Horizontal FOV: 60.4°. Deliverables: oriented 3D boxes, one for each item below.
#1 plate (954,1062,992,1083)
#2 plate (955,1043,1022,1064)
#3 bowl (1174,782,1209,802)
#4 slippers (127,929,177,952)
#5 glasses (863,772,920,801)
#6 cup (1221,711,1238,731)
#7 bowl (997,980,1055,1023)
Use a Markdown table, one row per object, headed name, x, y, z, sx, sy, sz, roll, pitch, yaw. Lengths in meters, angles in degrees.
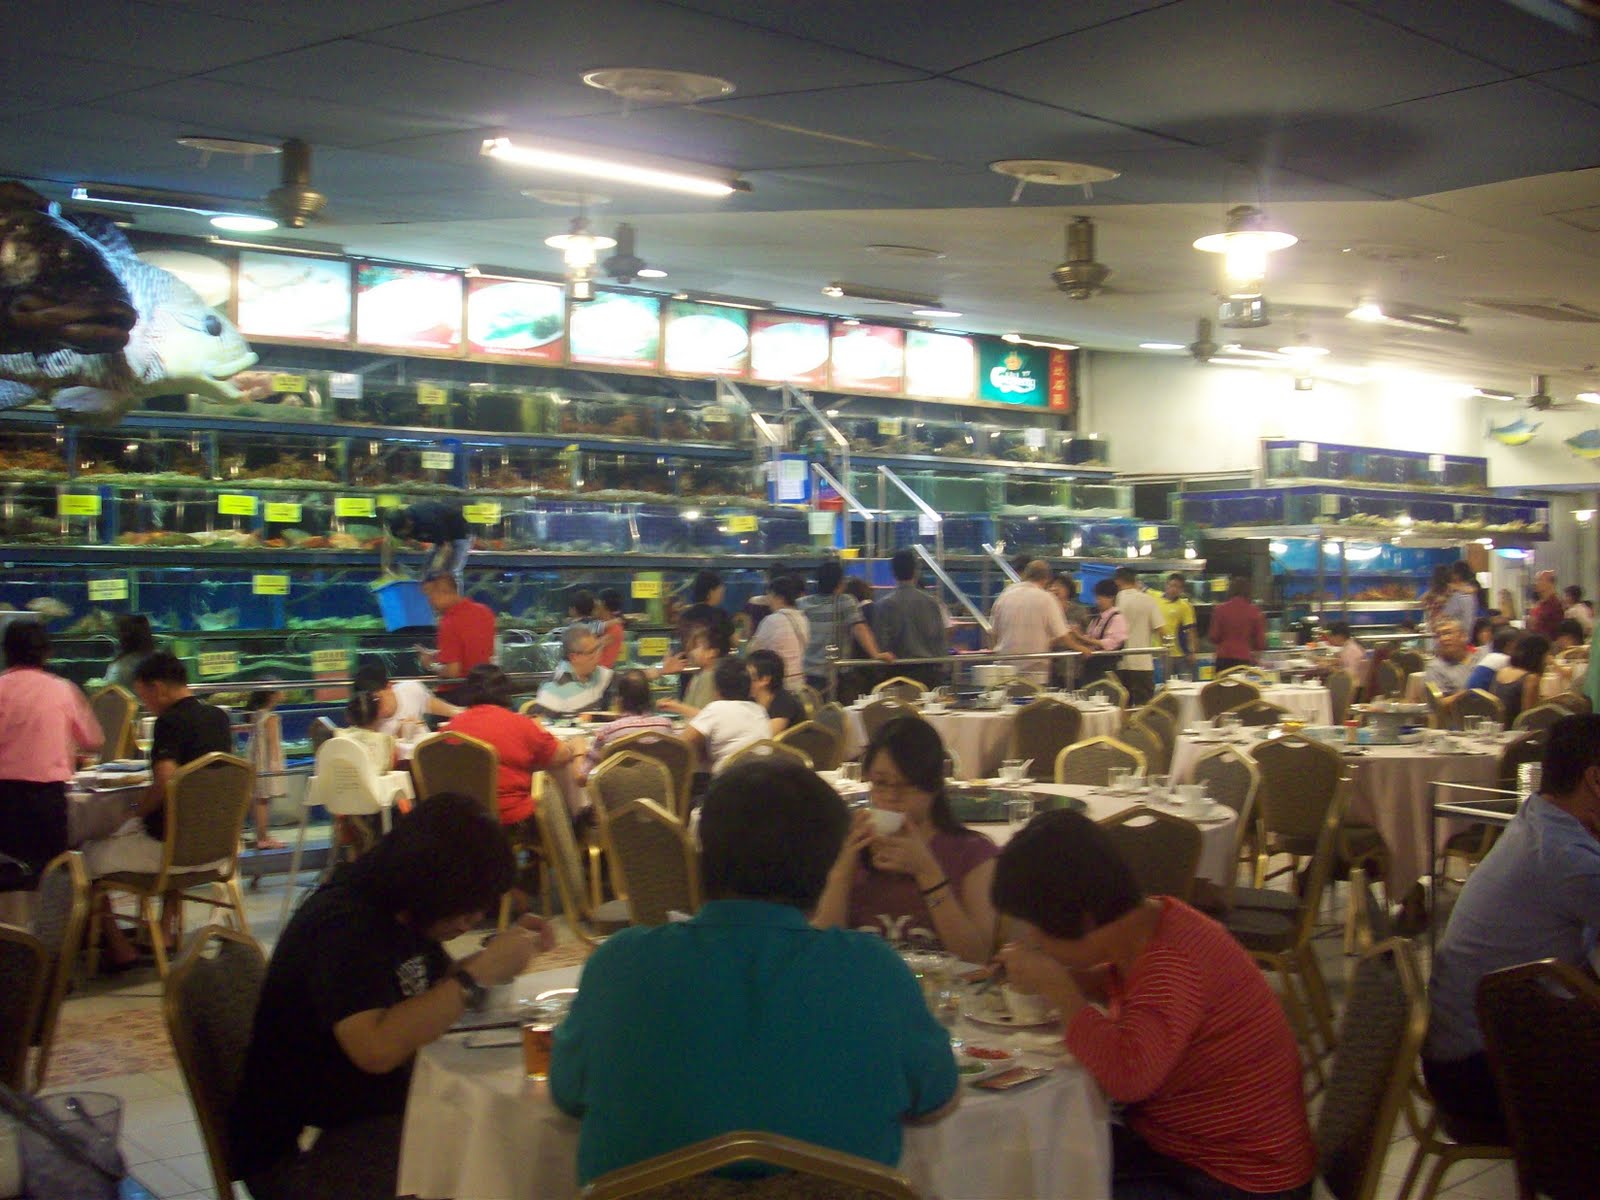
| name | x | y | z | sx | sy | sz | roll | pitch | yaw |
| --- | --- | --- | --- | --- | --- | --- | --- | --- | --- |
| plate | 0.382 | 1.020 | 2.957 | 0.076 | 0.021 | 0.082 | 1 | -1 | 24 |
| plate | 0.419 | 1.007 | 3.034 | 0.127 | 0.023 | 0.120 | -2 | -5 | 43 |
| bowl | 1.550 | 0.765 | 5.420 | 0.140 | 0.048 | 0.119 | -1 | -4 | 15 |
| slippers | -3.129 | 1.630 | 6.616 | 0.252 | 0.068 | 0.187 | -9 | -11 | 43 |
| glasses | 0.278 | 0.548 | 4.020 | 0.192 | 0.061 | 0.197 | 1 | -1 | 13 |
| cup | 2.500 | 0.711 | 7.995 | 0.121 | 0.100 | 0.119 | -2 | 7 | 0 |
| bowl | 0.533 | 0.946 | 3.235 | 0.117 | 0.058 | 0.102 | 3 | 2 | 20 |
